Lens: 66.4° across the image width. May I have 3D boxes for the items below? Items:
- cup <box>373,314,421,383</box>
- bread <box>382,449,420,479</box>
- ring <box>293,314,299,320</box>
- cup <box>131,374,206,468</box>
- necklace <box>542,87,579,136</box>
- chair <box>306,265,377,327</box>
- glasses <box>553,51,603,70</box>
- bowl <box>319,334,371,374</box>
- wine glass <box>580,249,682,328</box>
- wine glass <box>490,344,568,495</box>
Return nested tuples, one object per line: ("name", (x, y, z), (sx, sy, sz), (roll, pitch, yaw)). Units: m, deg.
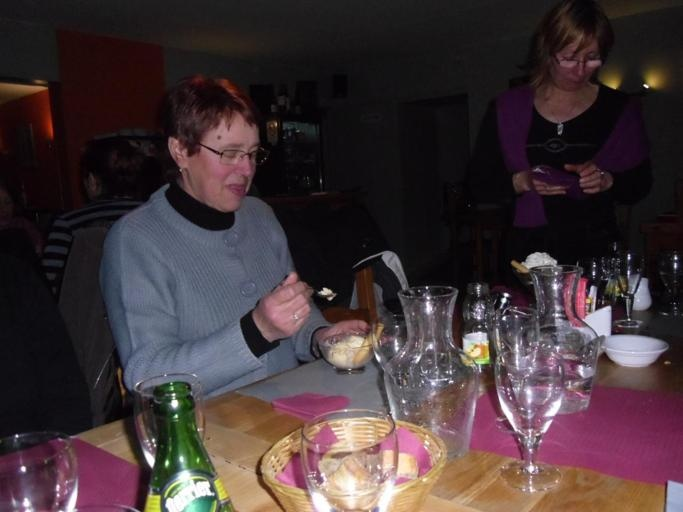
("cup", (0.131, 0.235, 1.313), (0.114, 0.182, 0.112), (2, -1, 0))
("bread", (0.090, 0.317, 0.813), (0.072, 0.018, 0.073), (2, 8, -12))
("ring", (-0.121, 0.164, 1.396), (0.015, 0.015, 0.005), (8, 0, -16))
("cup", (-0.298, 0.302, 0.943), (0.123, 0.191, 0.123), (-10, -4, -1))
("necklace", (1.007, -0.671, 2.378), (0.166, 0.183, 0.072), (2, 20, 6))
("chair", (0.016, 0.144, 2.072), (0.190, 0.252, 0.142), (5, -7, -5))
("glasses", (1.011, -0.810, 2.172), (0.222, 0.060, 0.089), (-5, 7, -8))
("bowl", (0.012, 0.258, 1.421), (0.108, 0.055, 0.111), (-1, -3, 0))
("wine glass", (1.007, 0.117, 1.808), (0.279, 0.180, 0.099), (-2, 0, -26))
("wine glass", (0.362, 0.291, 1.006), (0.118, 0.206, 0.264), (-2, 8, 17))
